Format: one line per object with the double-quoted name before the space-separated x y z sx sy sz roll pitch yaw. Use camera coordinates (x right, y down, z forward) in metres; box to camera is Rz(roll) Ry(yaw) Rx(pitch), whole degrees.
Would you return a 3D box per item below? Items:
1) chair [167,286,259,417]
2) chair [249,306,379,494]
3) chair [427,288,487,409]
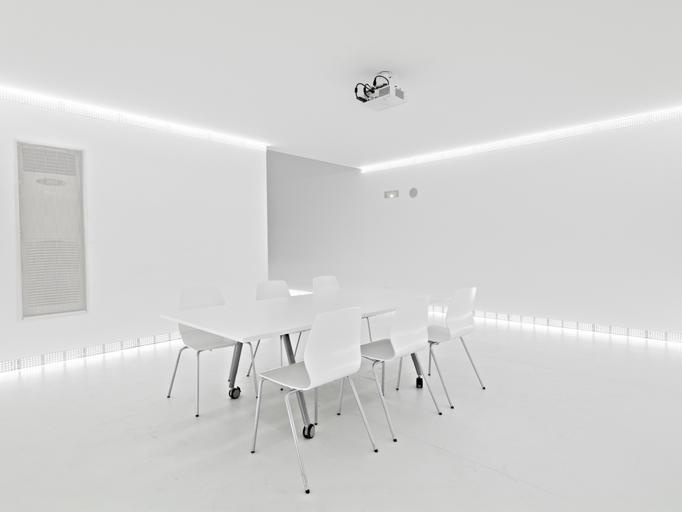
"chair" -1.196 0.829 4.591 0.620 0.950 0.669 2 7 26
"chair" -0.241 1.004 3.893 0.872 1.235 0.823 0 -2 -27
"chair" 0.985 0.827 4.713 0.518 0.676 0.512 -15 -10 38
